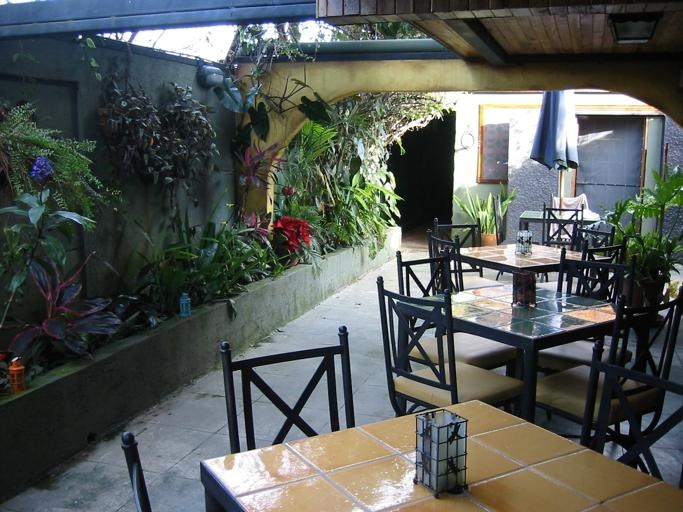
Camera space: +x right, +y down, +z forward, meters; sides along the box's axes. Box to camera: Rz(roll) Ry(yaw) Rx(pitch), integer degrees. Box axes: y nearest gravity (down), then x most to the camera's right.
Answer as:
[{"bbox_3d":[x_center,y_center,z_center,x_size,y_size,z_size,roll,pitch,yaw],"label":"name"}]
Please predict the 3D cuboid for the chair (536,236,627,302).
[{"bbox_3d":[2.107,0.117,4.549,0.421,0.747,0.439,-7,21,-22],"label":"chair"}]

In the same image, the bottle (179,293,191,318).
[{"bbox_3d":[-1.265,0.396,4.225,0.089,0.170,0.166,-5,13,-20],"label":"bottle"}]

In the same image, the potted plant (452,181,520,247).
[{"bbox_3d":[2.566,-0.738,9.154,1.349,1.128,1.067,-2,6,-10],"label":"potted plant"}]

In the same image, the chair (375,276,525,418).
[{"bbox_3d":[0.678,0.572,3.188,0.674,1.117,0.613,-15,23,-31],"label":"chair"}]

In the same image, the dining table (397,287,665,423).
[{"bbox_3d":[1.140,0.292,3.077,0.698,0.511,1.020,-10,17,-29],"label":"dining table"}]

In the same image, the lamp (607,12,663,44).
[{"bbox_3d":[1.966,-1.542,3.494,0.296,0.146,0.388,6,14,29],"label":"lamp"}]
